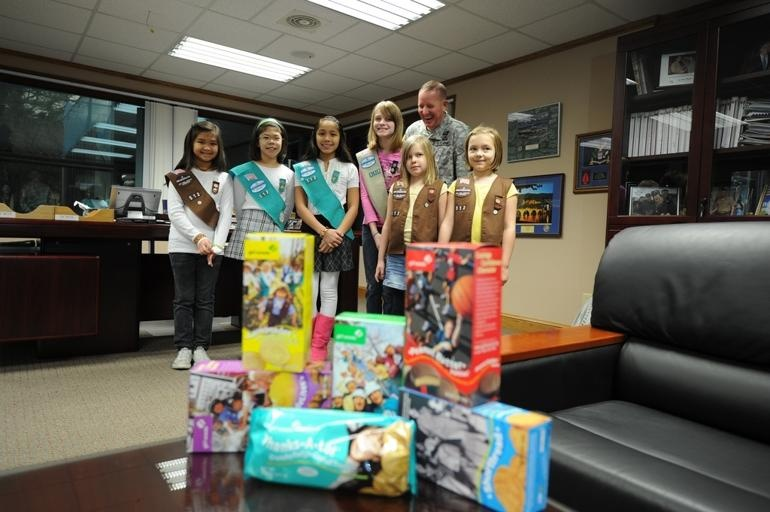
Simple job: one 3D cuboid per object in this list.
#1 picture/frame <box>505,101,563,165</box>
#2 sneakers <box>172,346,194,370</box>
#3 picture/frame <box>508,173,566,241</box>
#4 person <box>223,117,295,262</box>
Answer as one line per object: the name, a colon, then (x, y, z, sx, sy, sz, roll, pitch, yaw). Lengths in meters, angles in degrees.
picture/frame: (1.509, -1.214, 4.939, 0.071, 0.645, 0.676, 4, -4, -40)
sneakers: (-1.373, 0.708, 3.403, 0.087, 0.094, 0.211, 2, -9, -10)
picture/frame: (1.436, -0.440, 4.565, 0.045, 0.667, 0.647, -1, -4, -35)
person: (-0.784, -0.417, 3.150, 0.415, 0.858, 0.249, -1, 6, -16)
